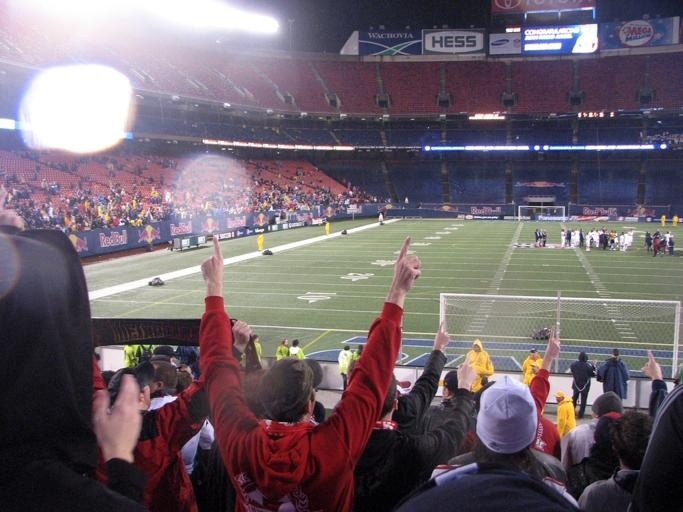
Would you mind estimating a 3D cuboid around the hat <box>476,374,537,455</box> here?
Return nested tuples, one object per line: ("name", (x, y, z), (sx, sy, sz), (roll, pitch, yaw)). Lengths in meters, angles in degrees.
("hat", (0.839, 0.755, 2.784), (0.304, 0.271, 0.479), (-6, 12, 18))

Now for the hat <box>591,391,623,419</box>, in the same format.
("hat", (2.726, 1.531, 5.644), (0.271, 0.229, 0.378), (5, 7, 28))
